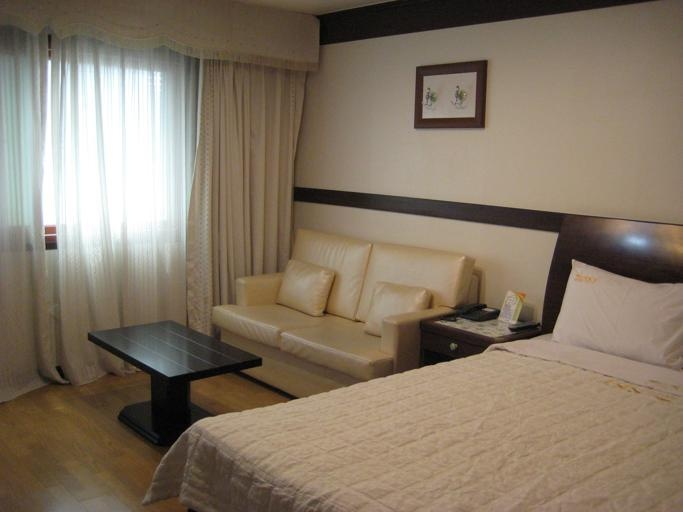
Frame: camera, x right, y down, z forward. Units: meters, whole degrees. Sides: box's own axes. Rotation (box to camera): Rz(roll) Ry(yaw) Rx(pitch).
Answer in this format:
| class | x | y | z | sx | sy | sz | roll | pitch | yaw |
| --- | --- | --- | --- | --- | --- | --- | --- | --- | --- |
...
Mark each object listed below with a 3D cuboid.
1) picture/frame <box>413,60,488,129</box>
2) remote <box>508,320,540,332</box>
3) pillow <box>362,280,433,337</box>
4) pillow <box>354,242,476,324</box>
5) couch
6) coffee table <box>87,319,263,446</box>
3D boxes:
| class | x | y | z | sx | sy | sz | roll | pitch | yaw |
| --- | --- | --- | --- | --- | --- | --- | --- | --- | --- |
| picture/frame | 0.885 | -1.290 | 4.041 | 0.580 | 0.478 | 0.041 | 10 | 11 | 42 |
| remote | 1.246 | 0.486 | 3.553 | 0.187 | 0.052 | 0.099 | 3 | -4 | -35 |
| pillow | 0.383 | 0.366 | 3.849 | 0.417 | 0.413 | 0.134 | 4 | -17 | 44 |
| pillow | 0.582 | 0.118 | 4.024 | 0.584 | 0.684 | 0.960 | 0 | 10 | -42 |
| couch | 0.080 | 0.592 | 3.984 | 1.013 | 0.978 | 1.751 | 0 | 4 | -44 |
| coffee table | -1.188 | 0.781 | 3.482 | 0.698 | 0.561 | 1.169 | -11 | 20 | -43 |
